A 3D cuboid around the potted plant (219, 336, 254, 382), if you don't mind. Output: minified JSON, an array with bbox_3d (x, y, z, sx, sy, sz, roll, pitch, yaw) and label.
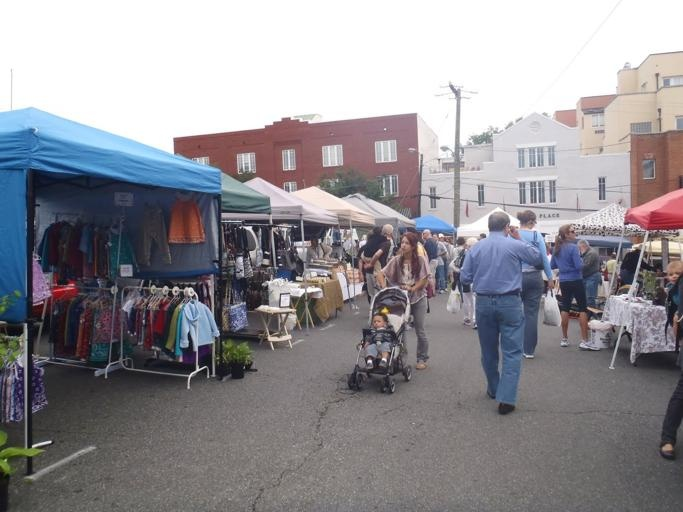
[{"bbox_3d":[-1.685,1.627,9.565,0.478,0.556,0.534,-2,-1,18],"label":"potted plant"}]

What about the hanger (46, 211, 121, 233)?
[{"bbox_3d":[-4.126,-0.584,9.855,0.791,0.269,0.615,4,2,7],"label":"hanger"}]

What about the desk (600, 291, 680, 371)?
[{"bbox_3d":[5.011,1.297,10.208,1.022,1.210,1.211,3,5,26],"label":"desk"}]

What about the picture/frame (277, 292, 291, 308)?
[{"bbox_3d":[-1.168,0.887,12.064,0.305,0.450,0.231,0,-1,-15],"label":"picture/frame"}]

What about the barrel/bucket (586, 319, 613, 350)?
[{"bbox_3d":[4.726,1.446,11.129,0.465,0.484,0.469,-2,0,0],"label":"barrel/bucket"}]

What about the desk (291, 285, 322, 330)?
[{"bbox_3d":[-0.983,1.135,13.491,0.806,0.832,0.850,-1,-3,24],"label":"desk"}]

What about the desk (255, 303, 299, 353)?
[{"bbox_3d":[-1.279,1.389,11.769,0.652,0.824,0.662,2,3,13],"label":"desk"}]

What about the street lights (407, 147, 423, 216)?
[{"bbox_3d":[5.742,-5.420,45.217,0.662,4.683,0.983,5,9,38],"label":"street lights"}]

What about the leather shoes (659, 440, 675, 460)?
[{"bbox_3d":[3.471,2.067,6.396,0.142,0.157,0.120,3,8,29],"label":"leather shoes"}]
